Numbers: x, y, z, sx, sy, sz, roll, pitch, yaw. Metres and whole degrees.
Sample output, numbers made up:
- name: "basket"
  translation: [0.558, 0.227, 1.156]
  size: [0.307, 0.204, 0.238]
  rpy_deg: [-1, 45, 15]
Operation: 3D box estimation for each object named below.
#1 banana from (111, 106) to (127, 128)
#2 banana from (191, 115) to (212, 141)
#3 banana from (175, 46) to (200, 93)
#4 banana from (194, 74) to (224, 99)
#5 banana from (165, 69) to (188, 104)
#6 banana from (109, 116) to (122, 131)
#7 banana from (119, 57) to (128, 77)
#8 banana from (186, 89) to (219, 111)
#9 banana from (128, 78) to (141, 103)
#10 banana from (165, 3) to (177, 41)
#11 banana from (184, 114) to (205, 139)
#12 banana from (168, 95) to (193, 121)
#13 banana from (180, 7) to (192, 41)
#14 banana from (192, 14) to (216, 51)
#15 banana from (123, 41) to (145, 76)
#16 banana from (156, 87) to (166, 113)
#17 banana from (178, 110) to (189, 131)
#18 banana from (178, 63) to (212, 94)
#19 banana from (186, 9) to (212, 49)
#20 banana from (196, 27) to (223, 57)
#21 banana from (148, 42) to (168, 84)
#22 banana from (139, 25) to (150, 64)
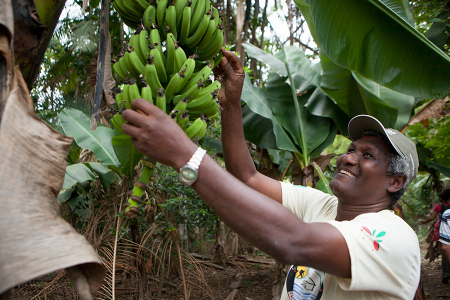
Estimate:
- name: "banana"
  translation: [-0.790, -0.241, 2.927]
  size: [0.108, 0.088, 0.300]
  rpy_deg: [0, 22, -24]
- name: "banana"
  translation: [-0.156, -0.134, 3.002]
  size: [0.075, 0.261, 0.099]
  rpy_deg: [29, -9, -39]
- name: "banana"
  translation: [-0.314, -0.576, 2.883]
  size: [0.100, 0.343, 0.126]
  rpy_deg: [31, -25, -19]
- name: "banana"
  translation: [-0.103, -0.477, 3.070]
  size: [0.134, 0.092, 0.327]
  rpy_deg: [2, 29, 45]
- name: "banana"
  translation: [-0.374, -0.462, 2.906]
  size: [0.080, 0.324, 0.086]
  rpy_deg: [32, 20, 15]
- name: "banana"
  translation: [-0.826, -0.213, 2.936]
  size: [0.112, 0.037, 0.086]
  rpy_deg: [41, -27, -8]
- name: "banana"
  translation: [-0.754, -0.606, 2.972]
  size: [0.057, 0.160, 0.044]
  rpy_deg: [-12, 6, -44]
- name: "banana"
  translation: [-0.180, -0.374, 2.965]
  size: [0.269, 0.122, 0.068]
  rpy_deg: [-24, -16, 10]
- name: "banana"
  translation: [-0.643, -0.412, 2.769]
  size: [0.058, 0.235, 0.079]
  rpy_deg: [-4, 2, 37]
- name: "banana"
  translation: [-0.393, -0.949, 2.932]
  size: [0.064, 0.220, 0.083]
  rpy_deg: [-5, 10, 25]
- name: "banana"
  translation: [-0.216, -0.157, 2.949]
  size: [0.234, 0.074, 0.095]
  rpy_deg: [-45, 30, -25]
- name: "banana"
  translation: [-0.315, -0.307, 2.807]
  size: [0.047, 0.196, 0.081]
  rpy_deg: [30, -9, 12]
- name: "banana"
  translation: [-0.296, -0.941, 2.961]
  size: [0.063, 0.266, 0.049]
  rpy_deg: [-6, 30, -28]
- name: "banana"
  translation: [-0.163, -0.903, 3.030]
  size: [0.064, 0.289, 0.107]
  rpy_deg: [14, 23, -26]
- name: "banana"
  translation: [-0.657, -0.652, 2.880]
  size: [0.157, 0.209, 0.074]
  rpy_deg: [7, 12, -11]
- name: "banana"
  translation: [-0.450, -0.349, 2.776]
  size: [0.067, 0.154, 0.060]
  rpy_deg: [6, 12, -12]
- name: "banana"
  translation: [-0.293, -0.204, 2.802]
  size: [0.044, 0.157, 0.064]
  rpy_deg: [7, 35, 1]
- name: "banana"
  translation: [-0.233, -0.520, 2.941]
  size: [0.059, 0.287, 0.114]
  rpy_deg: [48, 22, -3]
- name: "banana"
  translation: [-0.199, -1.028, 3.204]
  size: [0.118, 0.200, 0.546]
  rpy_deg: [49, 8, -15]
- name: "banana"
  translation: [-0.121, -0.820, 3.085]
  size: [0.151, 0.197, 0.068]
  rpy_deg: [3, 44, -41]
- name: "banana"
  translation: [-0.473, -0.616, 2.894]
  size: [0.085, 0.311, 0.073]
  rpy_deg: [-15, 12, 7]
- name: "banana"
  translation: [-0.601, -0.771, 2.949]
  size: [0.070, 0.261, 0.089]
  rpy_deg: [-5, -4, 14]
